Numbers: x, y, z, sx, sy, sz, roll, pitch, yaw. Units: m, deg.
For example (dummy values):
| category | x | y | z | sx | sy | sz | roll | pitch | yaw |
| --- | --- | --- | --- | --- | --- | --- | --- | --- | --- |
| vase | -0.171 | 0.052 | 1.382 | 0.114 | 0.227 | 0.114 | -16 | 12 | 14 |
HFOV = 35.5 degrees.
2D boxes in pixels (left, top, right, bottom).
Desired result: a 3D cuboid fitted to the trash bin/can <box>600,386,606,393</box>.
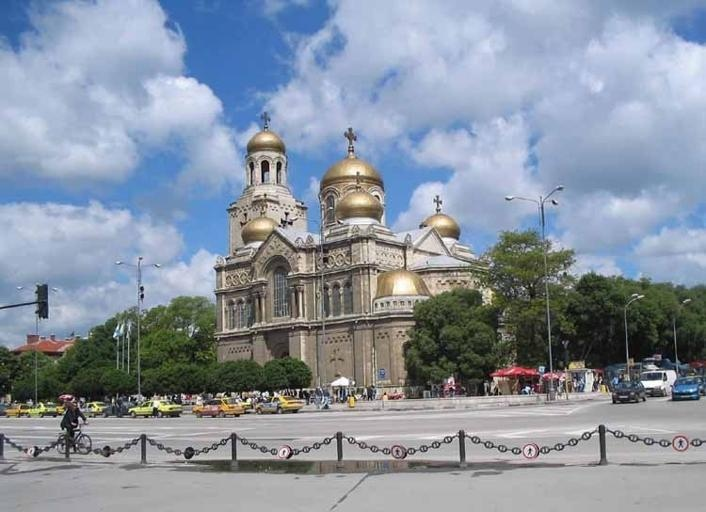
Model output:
| category | x | y | z | sx | sy | sz | roll | pitch | yaw |
| --- | --- | --- | --- | --- | --- | --- | --- | --- | --- |
| trash bin/can | 21.026 | 11.387 | 93.389 | 0.521 | 0.960 | 0.587 | -3 | -8 | 12 |

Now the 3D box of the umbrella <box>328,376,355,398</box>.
| category | x | y | z | sx | sy | sz | roll | pitch | yaw |
| --- | --- | --- | --- | --- | --- | --- | --- | --- | --- |
| umbrella | -1.083 | 12.062 | 100.477 | 1.879 | 1.398 | 1.867 | 0 | -2 | 10 |

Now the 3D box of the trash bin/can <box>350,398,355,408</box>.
| category | x | y | z | sx | sy | sz | roll | pitch | yaw |
| --- | --- | --- | --- | --- | --- | --- | --- | --- | --- |
| trash bin/can | -0.099 | 11.516 | 86.003 | 0.445 | 0.885 | 0.953 | 1 | -13 | -13 |
